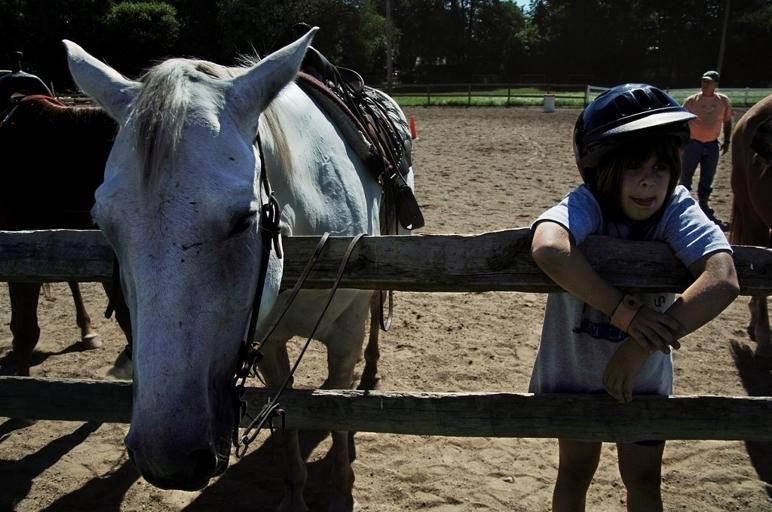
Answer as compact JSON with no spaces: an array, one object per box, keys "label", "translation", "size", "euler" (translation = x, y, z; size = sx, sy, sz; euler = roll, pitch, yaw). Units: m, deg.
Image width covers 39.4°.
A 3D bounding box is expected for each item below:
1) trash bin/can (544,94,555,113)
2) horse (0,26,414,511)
[{"label":"trash bin/can","translation":[4.345,-3.980,28.566],"size":[0.331,0.345,0.579],"euler":[1,-9,5]},{"label":"horse","translation":[-1.789,0.300,12.789],"size":[3.234,5.923,1.776],"euler":[-1,12,-15]}]
